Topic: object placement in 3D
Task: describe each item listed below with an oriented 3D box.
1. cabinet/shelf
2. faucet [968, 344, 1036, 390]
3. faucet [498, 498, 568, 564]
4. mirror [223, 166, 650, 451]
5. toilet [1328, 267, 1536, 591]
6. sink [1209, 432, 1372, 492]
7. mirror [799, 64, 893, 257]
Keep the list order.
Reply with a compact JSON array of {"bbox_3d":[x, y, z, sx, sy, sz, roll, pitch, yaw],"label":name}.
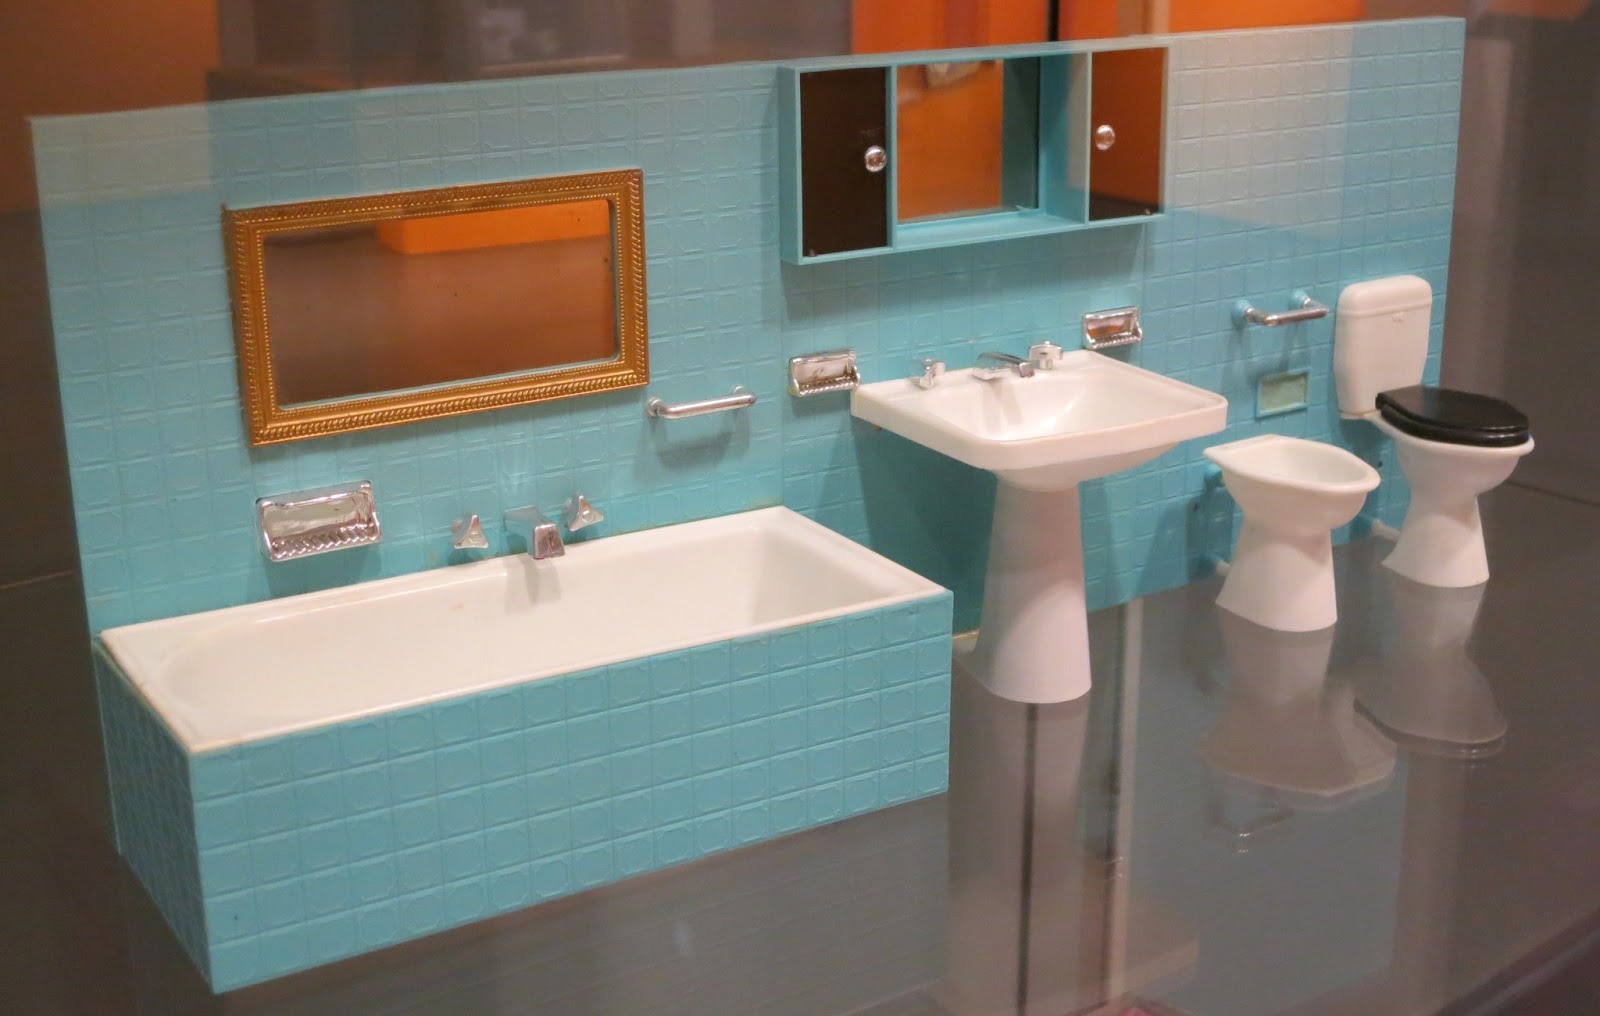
[{"bbox_3d":[0.603,-1.240,4.449,1.491,0.624,0.243,-13,23,-25],"label":"cabinet/shelf"},{"bbox_3d":[0.716,-0.490,4.536,0.185,0.050,0.127,-7,22,-20],"label":"faucet"},{"bbox_3d":[-0.841,0.082,4.049,0.119,0.117,0.216,-14,23,-33],"label":"faucet"},{"bbox_3d":[-1.149,-0.624,3.900,0.921,0.489,0.043,-10,21,-21],"label":"mirror"},{"bbox_3d":[2.628,-0.317,5.300,0.563,1.106,0.826,-11,20,-17],"label":"toilet"},{"bbox_3d":[1.935,-0.170,4.999,0.333,0.133,0.353,-15,27,-30],"label":"sink"},{"bbox_3d":[0.153,-1.131,4.249,0.383,0.602,0.080,5,11,32],"label":"mirror"}]
